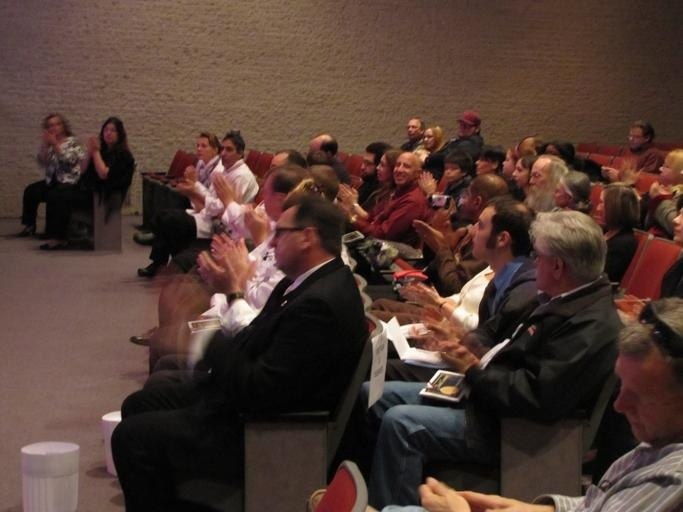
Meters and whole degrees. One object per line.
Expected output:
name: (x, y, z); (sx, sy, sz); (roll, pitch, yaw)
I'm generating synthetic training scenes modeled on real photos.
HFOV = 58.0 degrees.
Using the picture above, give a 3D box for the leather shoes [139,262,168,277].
leather shoes: (-2.139, 0.151, 6.870); (0.408, 0.174, 0.148); (1, 4, 6)

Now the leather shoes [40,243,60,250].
leather shoes: (-3.934, -0.124, 8.307); (0.294, 0.105, 0.108); (4, 0, 0)

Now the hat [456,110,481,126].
hat: (1.770, -1.868, 8.418); (0.316, 0.155, 0.229); (13, 12, -11)

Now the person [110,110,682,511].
person: (-0.007, 0.335, 2.673); (1.684, 1.031, 1.219); (2, 1, -4)
